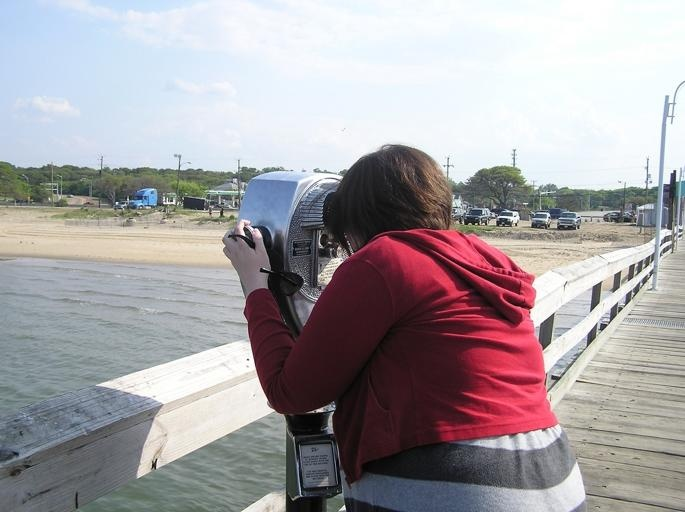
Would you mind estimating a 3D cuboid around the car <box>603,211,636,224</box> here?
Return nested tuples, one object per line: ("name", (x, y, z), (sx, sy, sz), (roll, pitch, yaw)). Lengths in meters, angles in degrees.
("car", (29.957, -4.166, 56.753), (2.813, 1.223, 5.447), (-5, 3, 32))

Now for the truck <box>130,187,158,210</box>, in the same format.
("truck", (-26.765, -7.347, 69.084), (2.046, 2.766, 5.192), (-1, -1, 13))

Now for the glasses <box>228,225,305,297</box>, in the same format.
("glasses", (-0.181, -0.001, 1.413), (0.182, 0.173, 0.058), (28, 59, 30))
